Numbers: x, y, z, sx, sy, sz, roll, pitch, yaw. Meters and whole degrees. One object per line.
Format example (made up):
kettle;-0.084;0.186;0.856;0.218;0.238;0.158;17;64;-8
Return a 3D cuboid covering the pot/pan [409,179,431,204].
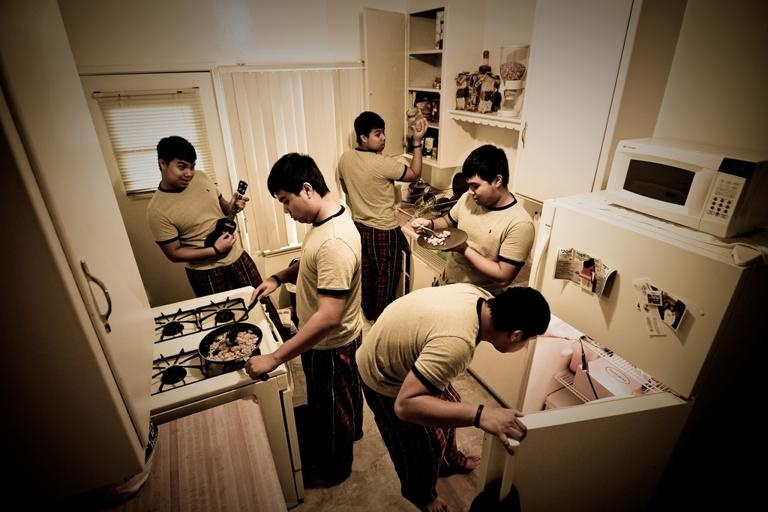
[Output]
pot/pan;0.329;-0.620;4.523;0.217;0.236;0.215;-21;29;-39

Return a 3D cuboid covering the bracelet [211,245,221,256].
bracelet;-1.178;-0.036;3.340;0.048;0.069;0.023;-5;24;-5

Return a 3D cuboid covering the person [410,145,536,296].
person;0.635;-0.235;3.285;0.602;1.110;0.662;-15;44;-17

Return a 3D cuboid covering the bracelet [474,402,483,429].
bracelet;0.426;0.726;2.112;0.041;0.117;0.053;2;25;12

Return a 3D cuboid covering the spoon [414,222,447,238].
spoon;0.330;-0.183;3.272;0.109;0.036;0.300;-14;21;-35

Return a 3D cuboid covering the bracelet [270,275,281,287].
bracelet;-0.675;0.151;2.969;0.023;0.070;0.050;-21;19;-26

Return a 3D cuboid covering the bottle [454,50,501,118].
bottle;0.785;-1.437;3.902;0.307;0.578;0.422;-14;29;-31

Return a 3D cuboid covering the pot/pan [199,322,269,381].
pot/pan;-0.822;0.486;2.559;0.333;0.129;0.293;-10;26;-16
